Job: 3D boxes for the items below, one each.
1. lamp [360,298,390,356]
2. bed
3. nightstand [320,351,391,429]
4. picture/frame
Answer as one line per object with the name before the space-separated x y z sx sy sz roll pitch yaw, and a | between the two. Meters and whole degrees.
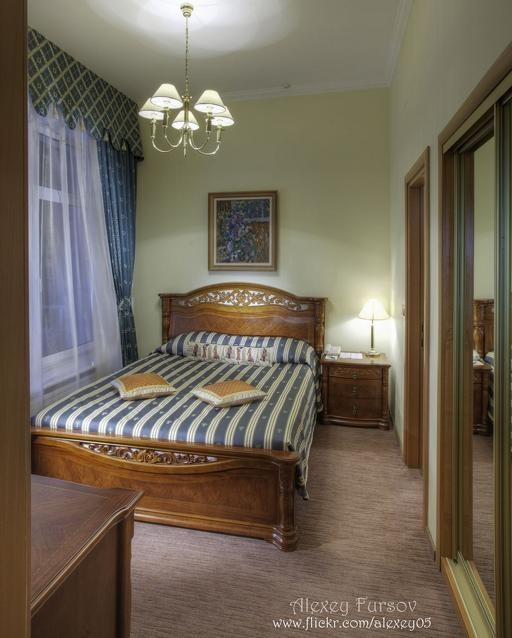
lamp | 1.072 0.078 4.001 0.264 0.514 0.449 1 5 16
bed | -0.343 0.473 3.361 1.461 1.224 2.239 2 7 8
nightstand | 0.894 0.534 3.971 0.582 0.665 0.507 2 30 17
picture/frame | -0.104 -0.913 4.361 0.619 0.885 0.059 1 3 15
